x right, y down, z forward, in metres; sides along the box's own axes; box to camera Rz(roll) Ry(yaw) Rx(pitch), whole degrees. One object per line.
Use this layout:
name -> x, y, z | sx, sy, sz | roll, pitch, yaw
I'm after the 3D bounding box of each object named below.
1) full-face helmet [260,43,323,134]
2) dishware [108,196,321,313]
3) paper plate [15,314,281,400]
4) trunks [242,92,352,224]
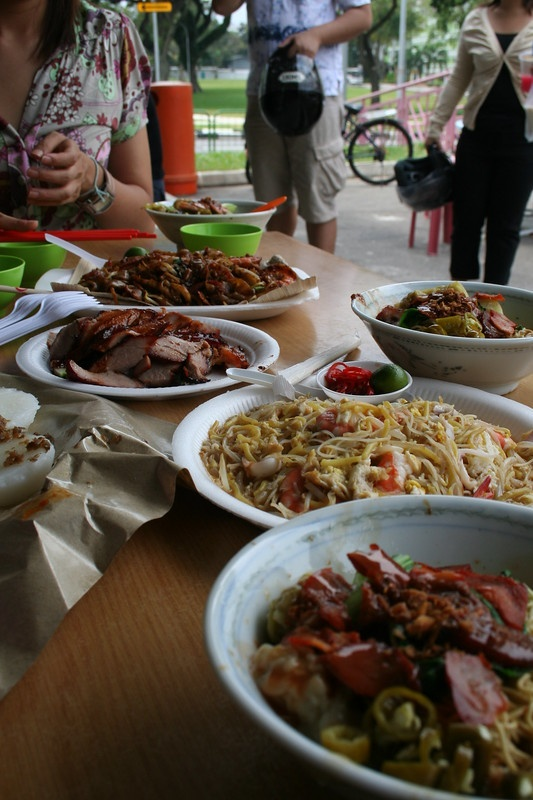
full-face helmet -> 0.065, -0.800, 1.676 | 0.151, 0.209, 0.172 | 17, 28, 32
dishware -> -0.131, -0.476, 1.755 | 0.490, 0.179, 0.463 | 1, 28, 1
paper plate -> -0.150, -0.054, 0.953 | 0.246, 0.029, 0.229 | -5, 26, -21
trunks -> 0.146, -1.142, 2.964 | 0.495, 0.625, 0.379 | 19, 34, 36
